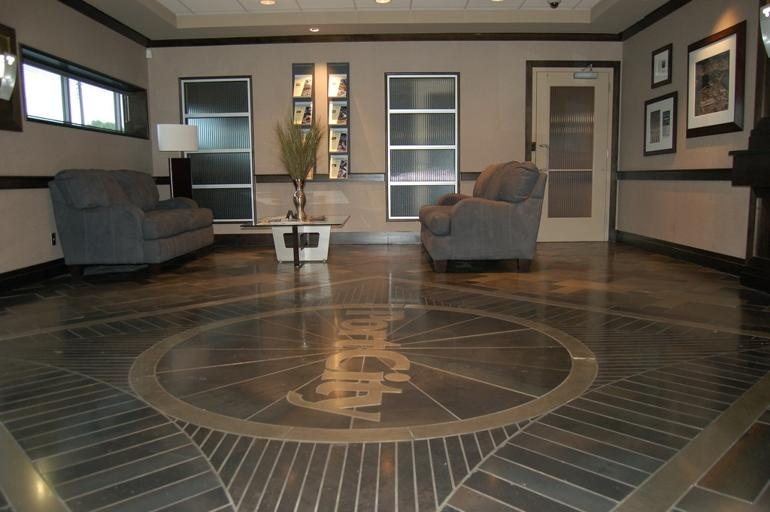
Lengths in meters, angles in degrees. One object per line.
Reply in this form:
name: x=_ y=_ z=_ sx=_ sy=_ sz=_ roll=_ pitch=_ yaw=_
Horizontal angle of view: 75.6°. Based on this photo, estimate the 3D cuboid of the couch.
couch: x=-3.064 y=-0.505 z=6.191 sx=1.325 sy=1.107 sz=1.713 roll=5 pitch=10 yaw=8

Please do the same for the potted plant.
potted plant: x=-1.136 y=-1.146 z=6.432 sx=0.742 sy=1.288 sz=0.688 roll=-1 pitch=4 yaw=-20

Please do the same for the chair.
chair: x=1.114 y=-0.515 z=5.988 sx=1.262 sy=1.231 sz=1.232 roll=-1 pitch=14 yaw=-2

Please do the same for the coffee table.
coffee table: x=-0.997 y=-0.259 z=6.003 sx=0.950 sy=0.373 sz=0.939 roll=1 pitch=-5 yaw=-34
